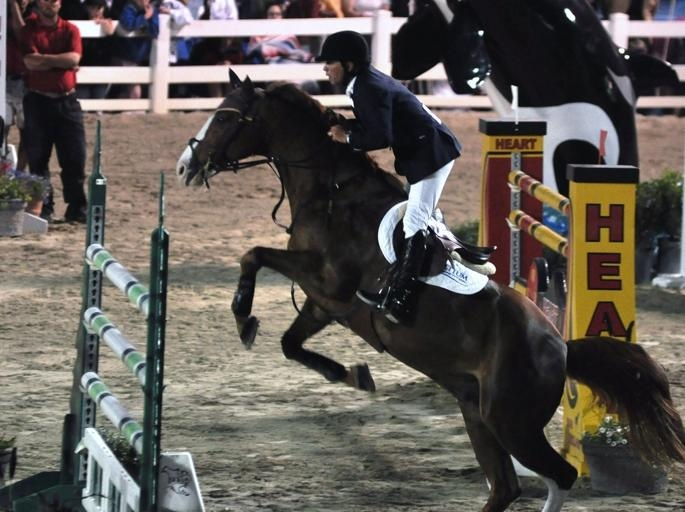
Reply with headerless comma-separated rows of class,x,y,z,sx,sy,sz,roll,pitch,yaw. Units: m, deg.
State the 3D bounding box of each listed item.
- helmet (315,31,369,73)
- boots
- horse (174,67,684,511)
helmet,0.009,-1.493,10.261,0.365,0.165,0.254,7,14,8
boots,0.368,0.149,9.993,0.473,0.647,0.256,3,7,3
horse,0.616,0.219,10.338,3.468,2.998,1.051,7,8,30
